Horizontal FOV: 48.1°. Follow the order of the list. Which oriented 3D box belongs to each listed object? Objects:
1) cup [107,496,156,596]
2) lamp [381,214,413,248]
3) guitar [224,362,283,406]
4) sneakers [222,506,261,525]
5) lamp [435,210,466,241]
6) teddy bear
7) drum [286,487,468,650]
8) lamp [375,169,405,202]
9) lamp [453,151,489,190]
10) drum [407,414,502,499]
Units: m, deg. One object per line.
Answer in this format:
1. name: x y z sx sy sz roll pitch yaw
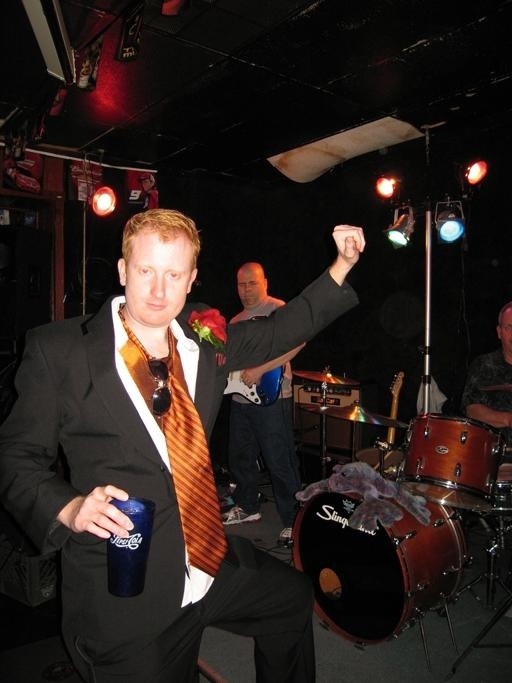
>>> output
1. cup: -0.317 0.518 1.386 0.094 0.279 0.116 6 4 -26
2. lamp: 1.144 -0.921 4.584 0.184 0.248 0.284 26 30 -9
3. guitar: 0.006 0.274 3.694 0.427 0.161 0.056 -16 -1 23
4. sneakers: -0.128 1.357 4.472 0.349 0.111 0.140 5 39 -7
5. lamp: 1.478 -0.880 4.379 0.215 0.225 0.190 -6 17 11
6. teddy bear: 0.582 0.735 2.751 0.371 0.126 0.404 -2 -3 -14
7. drum: 0.627 1.096 2.938 0.733 0.673 0.543 2 3 45
8. lamp: 1.143 -1.289 4.764 0.204 0.267 0.105 32 30 22
9. lamp: 1.690 -1.333 4.488 0.250 0.261 0.500 8 4 19
10. drum: 0.958 0.616 2.976 0.566 0.375 0.530 8 -15 2
